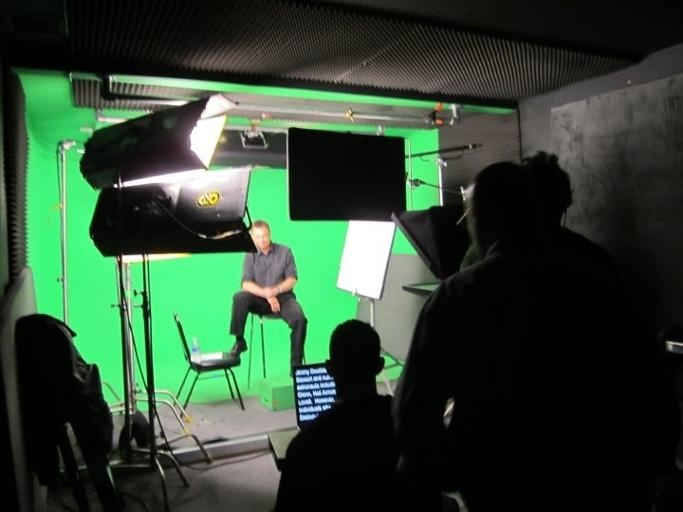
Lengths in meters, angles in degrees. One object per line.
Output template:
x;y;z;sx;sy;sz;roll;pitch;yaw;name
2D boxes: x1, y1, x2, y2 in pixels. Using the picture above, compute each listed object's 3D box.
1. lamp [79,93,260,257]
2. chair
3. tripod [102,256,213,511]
-1.077;-0.405;3.546;0.943;0.938;0.817;-2;10;10;lamp
-1.241;0.974;5.518;0.608;0.851;0.528;-1;3;-30;chair
-1.276;0.725;4.049;0.580;1.731;1.560;-7;10;-19;tripod
